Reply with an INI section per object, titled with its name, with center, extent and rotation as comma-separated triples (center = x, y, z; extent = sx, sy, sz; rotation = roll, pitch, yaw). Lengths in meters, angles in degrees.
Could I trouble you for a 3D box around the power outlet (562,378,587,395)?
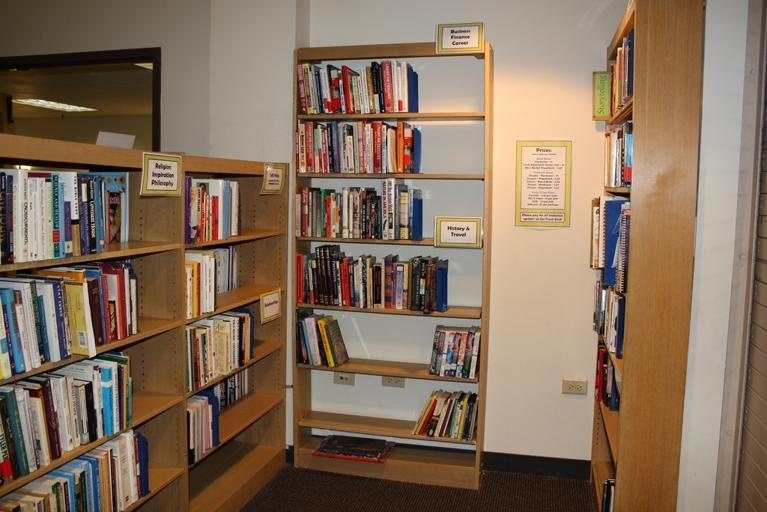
[power outlet]
center = 1.311, 0.892, 4.074
extent = 0.179, 0.108, 0.016
rotation = 3, 8, 9
